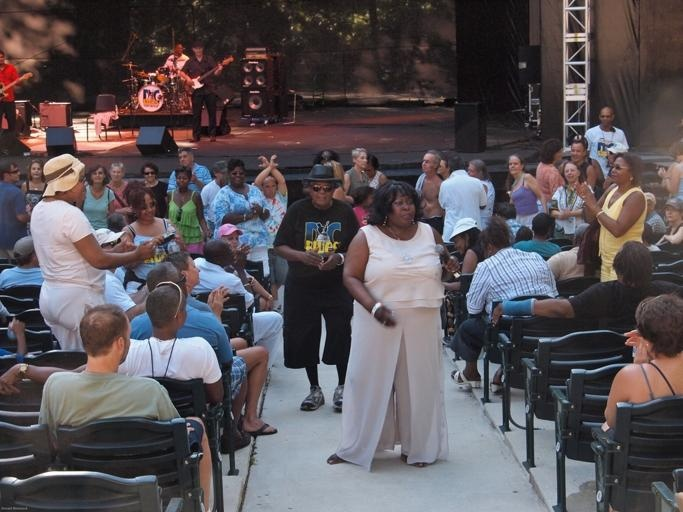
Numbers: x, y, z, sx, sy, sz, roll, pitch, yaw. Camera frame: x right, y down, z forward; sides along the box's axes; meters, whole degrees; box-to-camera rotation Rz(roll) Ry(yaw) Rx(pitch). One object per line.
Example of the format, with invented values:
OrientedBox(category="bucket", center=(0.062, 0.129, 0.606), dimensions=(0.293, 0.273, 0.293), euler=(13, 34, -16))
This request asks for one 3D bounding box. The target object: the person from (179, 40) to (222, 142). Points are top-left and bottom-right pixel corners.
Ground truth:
OrientedBox(category="person", center=(-2.734, -3.237, 22.332), dimensions=(0.737, 1.938, 1.026), euler=(-3, 5, -8))

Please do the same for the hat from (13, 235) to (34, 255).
OrientedBox(category="hat", center=(-3.007, -0.131, 10.908), dimensions=(0.173, 0.120, 0.232), euler=(1, 28, 19))

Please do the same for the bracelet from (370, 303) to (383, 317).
OrientedBox(category="bracelet", center=(0.295, 0.458, 9.620), dimensions=(0.036, 0.100, 0.092), euler=(27, 2, -13))

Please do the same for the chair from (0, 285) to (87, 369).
OrientedBox(category="chair", center=(-2.540, 0.641, 9.767), dimensions=(0.496, 0.707, 0.421), euler=(11, 23, 29))

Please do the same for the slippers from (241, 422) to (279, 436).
OrientedBox(category="slippers", center=(-0.748, 1.606, 10.411), dimensions=(0.260, 0.066, 0.117), euler=(-1, 1, 1))

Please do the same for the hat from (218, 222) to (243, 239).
OrientedBox(category="hat", center=(-1.189, -0.256, 11.869), dimensions=(0.212, 0.107, 0.164), euler=(-8, -1, 31))

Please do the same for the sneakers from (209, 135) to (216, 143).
OrientedBox(category="sneakers", center=(-2.513, -2.306, 22.266), dimensions=(0.071, 0.138, 0.231), euler=(0, -8, -4))

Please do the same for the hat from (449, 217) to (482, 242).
OrientedBox(category="hat", center=(1.338, -0.293, 11.895), dimensions=(0.295, 0.149, 0.232), euler=(-8, -21, -39))

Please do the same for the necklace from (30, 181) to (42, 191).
OrientedBox(category="necklace", center=(-3.756, -0.862, 13.995), dimensions=(0.135, 0.121, 0.033), euler=(7, -3, -5))

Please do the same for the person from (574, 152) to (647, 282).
OrientedBox(category="person", center=(2.623, -0.108, 11.107), dimensions=(0.677, 1.917, 0.585), euler=(-9, 26, -4))

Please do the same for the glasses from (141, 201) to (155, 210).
OrientedBox(category="glasses", center=(-1.889, -0.519, 11.131), dimensions=(0.094, 0.029, 0.092), euler=(-15, 45, -19))

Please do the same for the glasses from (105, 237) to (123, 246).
OrientedBox(category="glasses", center=(-2.106, -0.131, 10.568), dimensions=(0.166, 0.049, 0.115), euler=(-26, -9, 29))

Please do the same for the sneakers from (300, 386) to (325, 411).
OrientedBox(category="sneakers", center=(-0.269, 1.411, 11.024), dimensions=(0.136, 0.146, 0.313), euler=(-3, -4, 19))

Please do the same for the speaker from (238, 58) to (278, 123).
OrientedBox(category="speaker", center=(-1.862, -3.811, 25.711), dimensions=(0.778, 1.521, 0.888), euler=(-3, 5, -6))

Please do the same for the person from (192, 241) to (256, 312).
OrientedBox(category="person", center=(-1.110, 0.216, 10.793), dimensions=(0.368, 0.799, 0.428), euler=(18, 47, 21))

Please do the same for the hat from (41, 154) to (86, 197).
OrientedBox(category="hat", center=(-2.402, -0.696, 9.803), dimensions=(0.351, 0.365, 0.198), euler=(-3, 5, -14))

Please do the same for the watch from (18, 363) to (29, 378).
OrientedBox(category="watch", center=(-2.490, 0.903, 8.902), dimensions=(0.065, 0.096, 0.090), euler=(4, -37, -14))

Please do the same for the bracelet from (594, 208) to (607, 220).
OrientedBox(category="bracelet", center=(2.465, -0.401, 10.781), dimensions=(0.080, 0.079, 0.086), euler=(-1, -20, -2))

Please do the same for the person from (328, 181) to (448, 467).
OrientedBox(category="person", center=(0.416, 0.611, 9.787), dimensions=(0.931, 2.482, 0.381), euler=(-2, 6, 4))

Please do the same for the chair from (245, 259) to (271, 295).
OrientedBox(category="chair", center=(-0.888, 0.197, 12.627), dimensions=(0.263, 0.276, 0.333), euler=(6, 34, 7))

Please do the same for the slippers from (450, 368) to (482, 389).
OrientedBox(category="slippers", center=(1.245, 1.239, 11.360), dimensions=(0.273, 0.103, 0.145), euler=(5, 7, 35))

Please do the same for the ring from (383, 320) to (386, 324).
OrientedBox(category="ring", center=(0.375, 0.565, 9.615), dimensions=(0.029, 0.030, 0.013), euler=(-2, 5, 2))

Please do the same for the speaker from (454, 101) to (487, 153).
OrientedBox(category="speaker", center=(2.381, -2.329, 20.490), dimensions=(0.600, 0.917, 0.570), euler=(-3, 5, -8))

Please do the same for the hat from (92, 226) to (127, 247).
OrientedBox(category="hat", center=(-2.177, -0.179, 10.644), dimensions=(0.268, 0.090, 0.176), euler=(0, 30, 42))

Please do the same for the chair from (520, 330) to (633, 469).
OrientedBox(category="chair", center=(1.846, 1.080, 9.486), dimensions=(0.875, 1.055, 0.769), euler=(-2, 8, -5))

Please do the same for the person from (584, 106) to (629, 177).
OrientedBox(category="person", center=(3.586, -1.397, 15.526), dimensions=(0.752, 1.277, 0.345), euler=(5, -14, 1))

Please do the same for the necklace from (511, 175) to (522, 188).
OrientedBox(category="necklace", center=(2.174, -0.921, 14.033), dimensions=(0.101, 0.147, 0.156), euler=(-2, 4, 0))

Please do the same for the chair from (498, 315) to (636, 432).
OrientedBox(category="chair", center=(1.841, 0.940, 9.772), dimensions=(1.041, 1.178, 0.897), euler=(-2, 20, -2))

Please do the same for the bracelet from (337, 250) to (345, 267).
OrientedBox(category="bracelet", center=(0.012, 0.017, 10.540), dimensions=(0.079, 0.104, 0.120), euler=(5, -20, 2))

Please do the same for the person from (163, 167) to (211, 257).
OrientedBox(category="person", center=(-1.907, -0.439, 13.873), dimensions=(0.672, 1.249, 0.552), euler=(3, 17, 3))

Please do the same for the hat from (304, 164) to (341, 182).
OrientedBox(category="hat", center=(-0.176, -0.775, 10.622), dimensions=(0.303, 0.157, 0.215), euler=(-2, 5, -3))

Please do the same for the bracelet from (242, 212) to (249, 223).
OrientedBox(category="bracelet", center=(-1.094, -0.448, 12.985), dimensions=(0.078, 0.074, 0.076), euler=(1, 2, -10))
